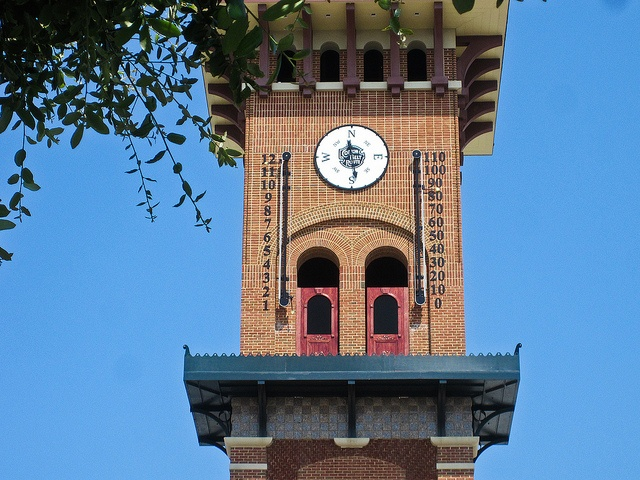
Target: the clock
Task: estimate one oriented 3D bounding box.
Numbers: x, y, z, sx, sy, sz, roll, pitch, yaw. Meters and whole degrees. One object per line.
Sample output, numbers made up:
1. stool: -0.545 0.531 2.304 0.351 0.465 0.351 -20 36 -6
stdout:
1. clock: 0.914 -2.217 57.912 1.944 2.059 0.121 2 -34 5
